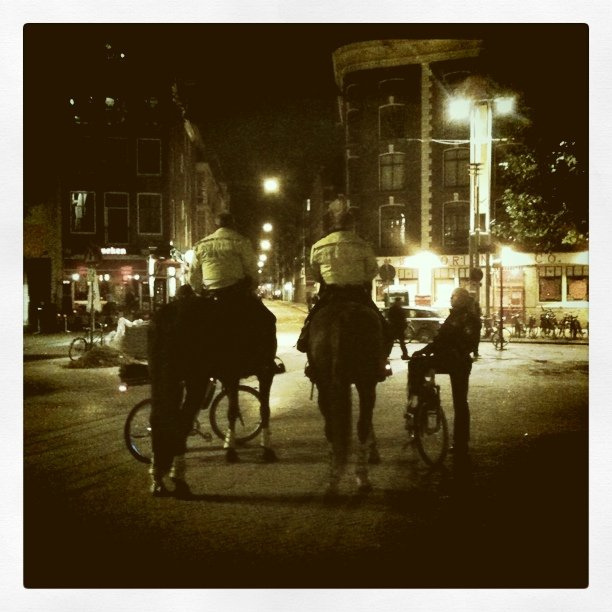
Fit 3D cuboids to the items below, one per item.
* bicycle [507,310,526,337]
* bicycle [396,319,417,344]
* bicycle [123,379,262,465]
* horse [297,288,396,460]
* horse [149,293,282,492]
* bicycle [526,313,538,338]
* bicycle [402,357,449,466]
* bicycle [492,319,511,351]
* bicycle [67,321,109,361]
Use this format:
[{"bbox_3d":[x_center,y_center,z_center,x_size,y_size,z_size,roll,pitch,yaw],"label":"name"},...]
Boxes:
[{"bbox_3d":[7.760,0.674,31.356,0.441,0.916,0.532,3,-1,-9],"label":"bicycle"},{"bbox_3d":[3.261,0.841,26.519,0.355,0.734,1.202,0,6,8],"label":"bicycle"},{"bbox_3d":[-1.243,1.322,9.550,1.516,1.046,0.795,-3,0,-10],"label":"bicycle"},{"bbox_3d":[0.524,0.541,9.642,0.817,2.008,2.565,-5,10,8],"label":"horse"},{"bbox_3d":[-0.956,0.794,9.168,1.260,1.850,2.332,0,6,3],"label":"horse"},{"bbox_3d":[8.132,0.722,30.692,0.336,0.484,0.775,2,42,10],"label":"bicycle"},{"bbox_3d":[1.346,1.169,9.182,0.317,0.983,0.575,1,6,20],"label":"bicycle"},{"bbox_3d":[5.830,0.965,25.459,0.477,0.654,1.022,0,14,17],"label":"bicycle"},{"bbox_3d":[-6.176,0.977,24.069,0.593,0.791,1.267,-4,7,18],"label":"bicycle"}]
